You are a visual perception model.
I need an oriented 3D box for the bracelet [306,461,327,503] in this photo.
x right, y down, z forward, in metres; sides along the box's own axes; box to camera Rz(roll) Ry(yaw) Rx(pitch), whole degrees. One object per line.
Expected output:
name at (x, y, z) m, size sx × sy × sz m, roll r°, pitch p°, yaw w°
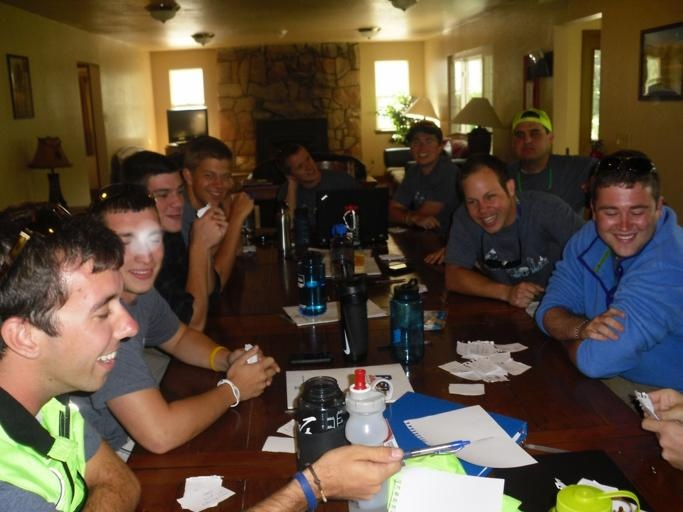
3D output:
bracelet at (-0.052, 0.502, 1.196) m, size 0.022 × 0.056 × 0.071 m, roll -24°, pitch 39°, yaw -5°

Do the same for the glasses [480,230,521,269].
glasses at (0.759, -0.023, 2.642) m, size 0.147 × 0.202 × 0.073 m, roll 0°, pitch 33°, yaw 33°

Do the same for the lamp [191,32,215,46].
lamp at (-2.116, -3.343, 8.286) m, size 0.348 × 0.178 × 0.341 m, roll -3°, pitch 4°, yaw -1°

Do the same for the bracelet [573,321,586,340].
bracelet at (0.792, 0.242, 1.788) m, size 0.015 × 0.047 × 0.047 m, roll 22°, pitch 58°, yaw 0°

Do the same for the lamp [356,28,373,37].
lamp at (0.385, -3.540, 8.507) m, size 0.239 × 0.102 × 0.257 m, roll -3°, pitch 15°, yaw 5°

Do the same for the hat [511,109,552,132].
hat at (1.371, -0.965, 3.885) m, size 0.259 × 0.198 × 0.368 m, roll 2°, pitch 12°, yaw 11°

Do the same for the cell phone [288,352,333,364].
cell phone at (-0.106, 0.343, 1.797) m, size 0.102 × 0.019 × 0.054 m, roll -1°, pitch 8°, yaw -1°

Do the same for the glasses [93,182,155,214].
glasses at (-0.689, -0.182, 1.722) m, size 0.172 × 0.172 × 0.051 m, roll 0°, pitch 42°, yaw -29°

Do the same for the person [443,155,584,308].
person at (0.857, -0.127, 2.654) m, size 0.761 × 0.803 × 0.503 m, roll -7°, pitch 25°, yaw 27°

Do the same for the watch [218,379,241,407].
watch at (-0.320, 0.394, 1.587) m, size 0.076 × 0.061 × 0.030 m, roll 51°, pitch 43°, yaw 11°
